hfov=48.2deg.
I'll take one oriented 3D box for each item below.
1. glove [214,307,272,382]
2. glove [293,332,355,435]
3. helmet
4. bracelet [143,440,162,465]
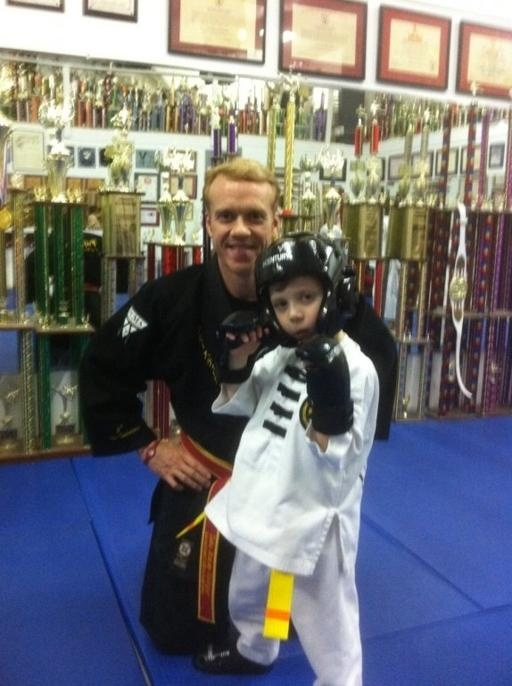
[{"bbox_3d":[-0.044,-0.002,1.216,0.092,0.165,0.062,19,27,-17],"label":"glove"},{"bbox_3d":[0.120,0.071,1.013,0.042,0.192,0.104,-9,8,-15],"label":"glove"},{"bbox_3d":[0.109,-0.113,1.156,0.222,0.221,0.169,0,6,-6],"label":"helmet"},{"bbox_3d":[-0.284,0.288,1.575,0.017,0.064,0.039,22,15,16],"label":"bracelet"}]
